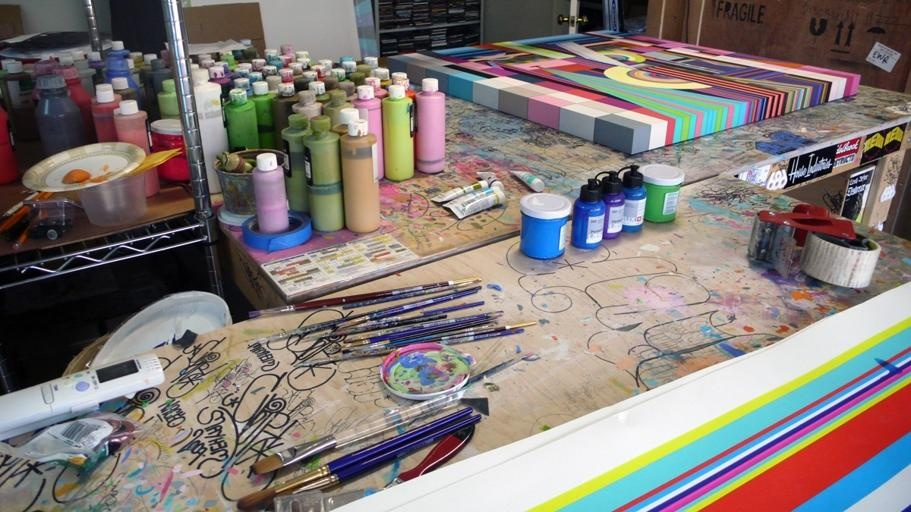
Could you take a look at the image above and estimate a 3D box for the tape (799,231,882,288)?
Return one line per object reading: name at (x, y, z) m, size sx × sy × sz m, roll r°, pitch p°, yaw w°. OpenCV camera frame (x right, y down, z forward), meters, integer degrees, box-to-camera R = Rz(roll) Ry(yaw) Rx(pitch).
tape at (0.969, 0.009, 1.418) m, size 0.218 × 0.077 × 0.193 m, roll -7°, pitch 21°, yaw -29°
